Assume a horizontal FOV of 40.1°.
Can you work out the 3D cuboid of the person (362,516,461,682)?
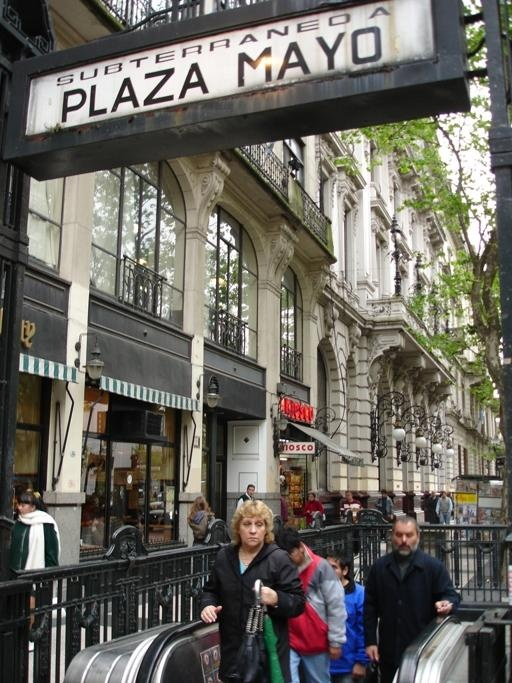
[{"bbox_3d":[1.033,1.754,4.774,0.658,1.109,0.497,-5,-14,25],"label":"person"}]

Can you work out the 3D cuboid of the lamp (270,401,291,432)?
[{"bbox_3d":[0.733,2.168,20.292,0.561,1.364,0.813,-1,-3,-4],"label":"lamp"}]

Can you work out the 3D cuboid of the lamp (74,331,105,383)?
[{"bbox_3d":[-2.880,0.236,12.121,0.504,0.896,0.964,4,-14,-12],"label":"lamp"}]
